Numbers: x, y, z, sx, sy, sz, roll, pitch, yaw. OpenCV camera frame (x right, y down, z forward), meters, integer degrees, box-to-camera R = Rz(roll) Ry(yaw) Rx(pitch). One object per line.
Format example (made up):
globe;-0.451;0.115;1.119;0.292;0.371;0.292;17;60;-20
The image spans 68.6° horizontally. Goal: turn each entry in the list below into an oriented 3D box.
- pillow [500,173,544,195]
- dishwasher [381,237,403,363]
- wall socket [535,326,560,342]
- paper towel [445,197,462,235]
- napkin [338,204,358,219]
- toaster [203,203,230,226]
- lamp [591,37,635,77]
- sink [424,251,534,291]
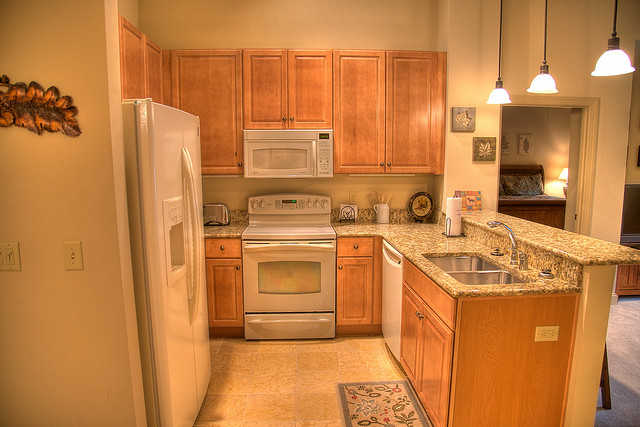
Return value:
pillow;3.712;-0.530;8.507;0.589;0.397;0.166;-3;-12;-7
dishwasher;0.636;0.767;4.130;0.222;0.768;0.541;1;9;2
wall socket;1.516;0.799;3.143;0.111;0.091;0.012;1;5;-1
paper towel;1.205;0.020;4.259;0.141;0.330;0.130;3;9;26
napkin;0.296;-0.022;4.925;0.164;0.137;0.053;1;1;0
toaster;-1.039;0.016;4.765;0.351;0.250;0.189;0;0;-4
lamp;2.164;-1.098;3.454;0.292;0.290;0.182;16;12;13
sink;1.201;0.436;3.483;0.612;0.241;0.691;1;6;-2
